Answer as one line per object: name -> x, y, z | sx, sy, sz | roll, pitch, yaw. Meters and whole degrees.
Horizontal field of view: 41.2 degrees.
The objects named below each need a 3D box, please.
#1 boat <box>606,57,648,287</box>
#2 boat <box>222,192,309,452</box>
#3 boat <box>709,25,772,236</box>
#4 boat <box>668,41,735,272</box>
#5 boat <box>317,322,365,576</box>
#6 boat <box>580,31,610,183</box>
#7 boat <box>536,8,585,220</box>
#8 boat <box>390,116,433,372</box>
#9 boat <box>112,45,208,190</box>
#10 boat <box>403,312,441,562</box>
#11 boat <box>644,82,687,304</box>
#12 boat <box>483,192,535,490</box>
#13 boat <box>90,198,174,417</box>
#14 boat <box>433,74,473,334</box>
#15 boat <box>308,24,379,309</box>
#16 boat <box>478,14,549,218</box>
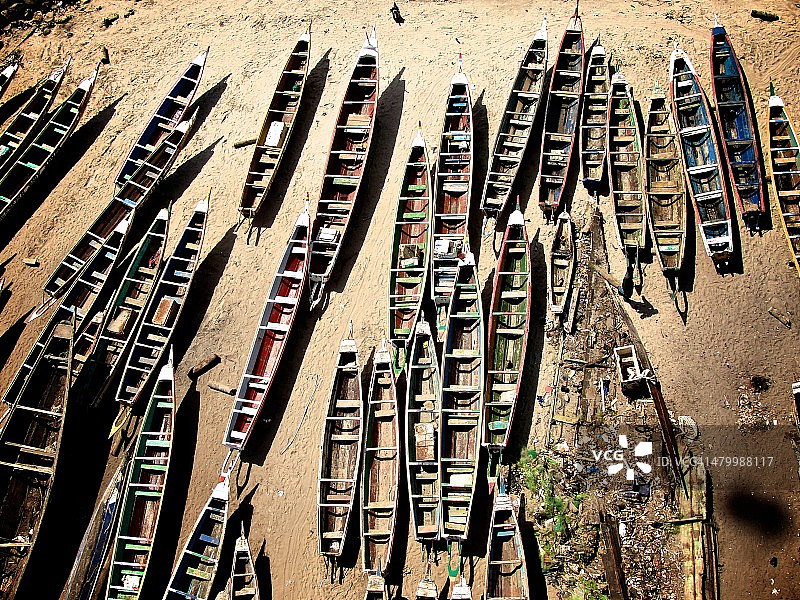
boat -> 10.611, -5.821, 49.921 | 1.575, 3.453, 7.606 | -5, 57, 12
boat -> -5.871, 1.591, 49.007 | 1.376, 2.806, 10.054 | 11, 64, 24
boat -> 15.960, -7.465, 50.425 | 1.513, 1.472, 11.632 | -5, 77, 10
boat -> 14.122, -6.445, 50.269 | 1.649, 1.602, 12.225 | -6, 78, 10
boat -> -2.637, 6.796, 48.016 | 1.492, 1.402, 10.667 | 2, 81, 3
boat -> 9.230, -8.831, 50.641 | 1.105, 1.112, 8.409 | 1, 84, 6
boat -> 7.796, -8.512, 51.089 | 1.528, 1.569, 12.075 | 5, 80, 11
boat -> 0.510, -2.147, 49.993 | 1.520, 1.798, 11.863 | 1, 80, 4
boat -> -11.857, -8.657, 52.740 | 1.135, 0.983, 7.422 | 20, 79, 17
boat -> 1.027, 6.138, 47.478 | 1.363, 1.267, 9.747 | 0, 81, 3
boat -> 12.298, -5.126, 49.535 | 1.749, 1.339, 9.595 | 6, 108, 13
boat -> 4.850, 1.754, 48.197 | 2.086, 1.609, 12.022 | 4, 105, 6
boat -> -12.594, 0.771, 49.958 | 1.825, 1.696, 13.296 | 10, 78, 8
boat -> 2.482, -5.090, 50.297 | 1.420, 1.746, 13.872 | 0, 79, 3
boat -> -2.621, -6.065, 51.004 | 1.744, 3.567, 11.483 | 6, 62, 21
boat -> 5.540, -8.089, 50.732 | 1.400, 2.521, 8.483 | 12, 64, 24
